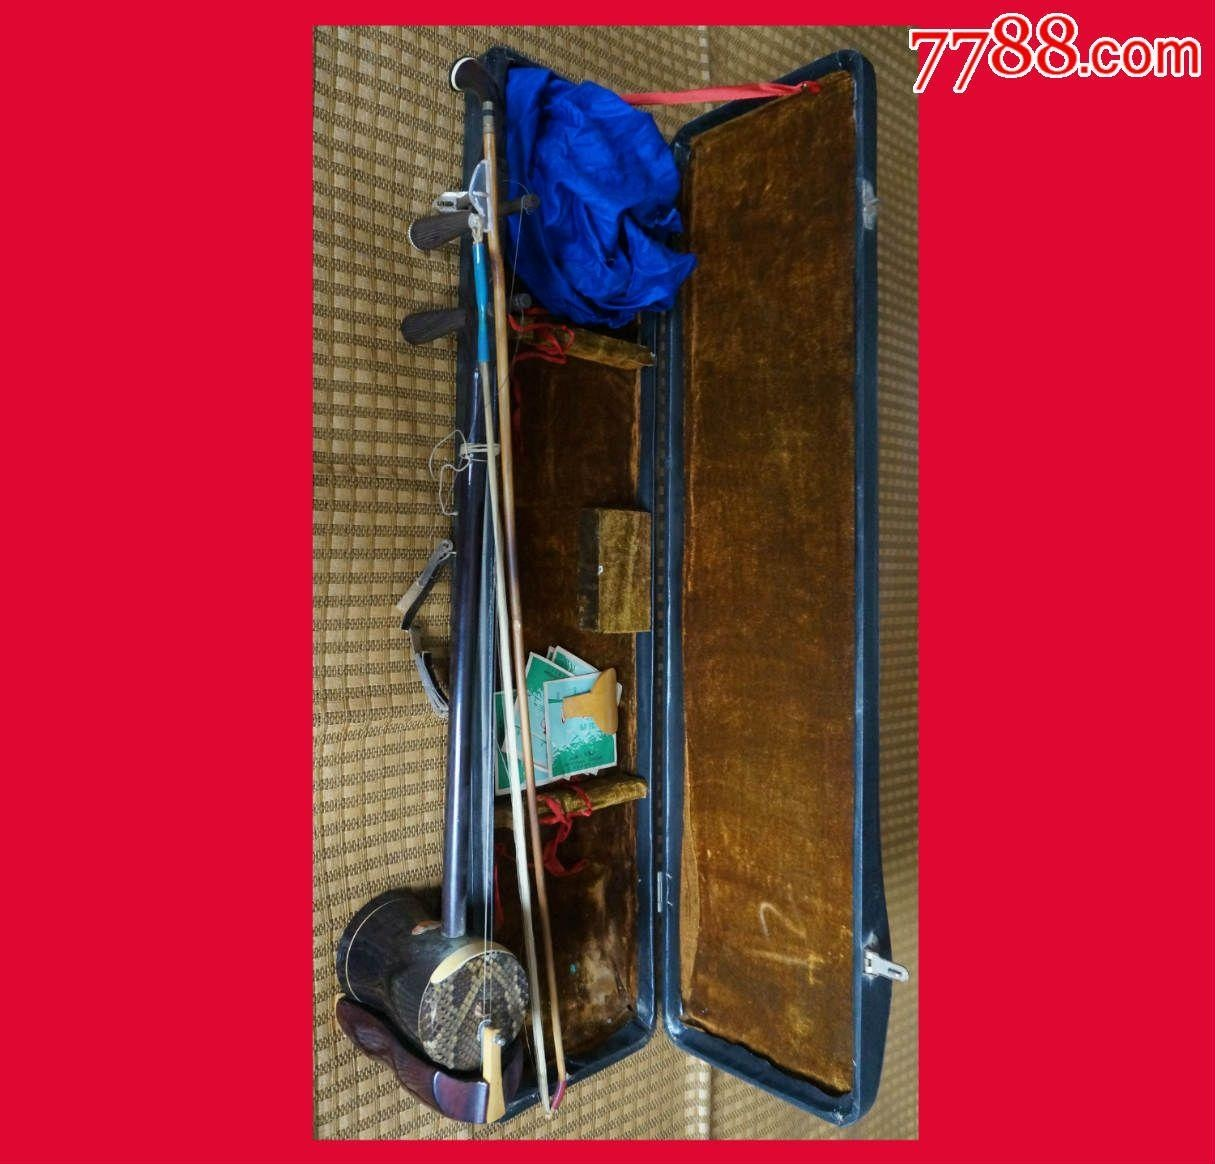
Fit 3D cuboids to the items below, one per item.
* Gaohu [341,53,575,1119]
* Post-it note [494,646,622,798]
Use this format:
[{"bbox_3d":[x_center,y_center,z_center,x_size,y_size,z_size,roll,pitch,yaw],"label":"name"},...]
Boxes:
[{"bbox_3d":[-0.199,0.020,2.938,0.371,1.910,0.467,4,4,42],"label":"Gaohu"},{"bbox_3d":[-0.071,0.268,3.220,0.220,0.281,0.054,-9,8,-39],"label":"Post-it note"}]
